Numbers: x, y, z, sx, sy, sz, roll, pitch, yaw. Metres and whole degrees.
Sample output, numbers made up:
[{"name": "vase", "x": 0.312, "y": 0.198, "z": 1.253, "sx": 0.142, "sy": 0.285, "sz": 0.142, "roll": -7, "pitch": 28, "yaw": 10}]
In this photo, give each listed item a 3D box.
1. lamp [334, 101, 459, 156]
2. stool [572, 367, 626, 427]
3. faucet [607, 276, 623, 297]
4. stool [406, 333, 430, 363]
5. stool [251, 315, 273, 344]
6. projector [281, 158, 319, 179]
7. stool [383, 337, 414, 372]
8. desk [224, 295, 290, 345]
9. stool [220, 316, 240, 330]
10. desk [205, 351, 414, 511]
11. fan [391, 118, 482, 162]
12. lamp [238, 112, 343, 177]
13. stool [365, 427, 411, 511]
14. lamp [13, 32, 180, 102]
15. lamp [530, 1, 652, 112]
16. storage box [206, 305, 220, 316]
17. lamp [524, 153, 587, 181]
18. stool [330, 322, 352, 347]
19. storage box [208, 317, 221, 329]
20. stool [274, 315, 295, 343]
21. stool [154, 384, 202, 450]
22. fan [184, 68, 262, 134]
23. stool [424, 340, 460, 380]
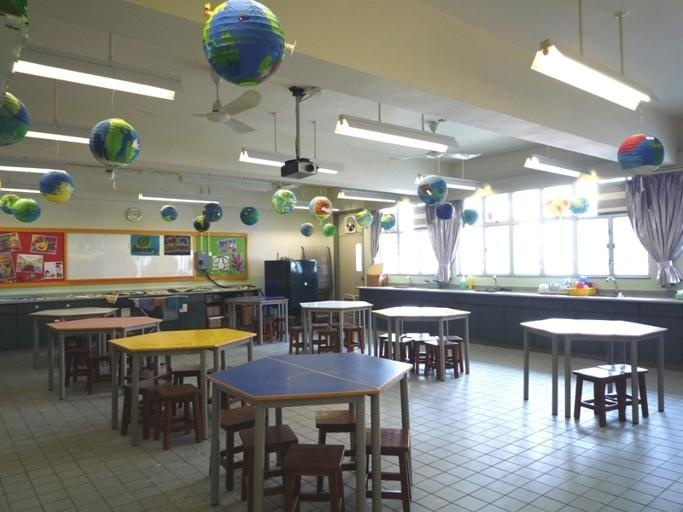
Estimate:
[{"name": "lamp", "x": 0.730, "y": -1.617, "z": 6.751, "sx": 1.769, "sy": 0.247, "sz": 0.282, "roll": 2, "pitch": -4, "yaw": -35}, {"name": "stool", "x": 3.104, "y": 1.615, "z": 6.235, "sx": 0.594, "sy": 0.720, "sz": 0.587, "roll": -1, "pitch": 0, "yaw": -25}, {"name": "faucet", "x": 4.834, "y": 0.536, "z": 9.147, "sx": 0.170, "sy": 0.335, "sz": 0.329, "roll": -1, "pitch": 2, "yaw": -16}, {"name": "stool", "x": 1.342, "y": 1.548, "z": 8.489, "sx": 0.400, "sy": 0.554, "sz": 0.420, "roll": 0, "pitch": -2, "yaw": -22}, {"name": "stool", "x": -1.598, "y": 1.598, "z": 11.423, "sx": 0.515, "sy": 0.656, "sz": 0.528, "roll": -1, "pitch": -2, "yaw": 16}, {"name": "projector", "x": -0.562, "y": -1.158, "z": 6.789, "sx": 0.247, "sy": 0.253, "sz": 0.528, "roll": 2, "pitch": -4, "yaw": -40}, {"name": "stool", "x": 0.915, "y": 1.591, "z": 8.558, "sx": 0.433, "sy": 0.572, "sz": 0.430, "roll": -1, "pitch": -3, "yaw": 16}, {"name": "desk", "x": -1.690, "y": 1.187, "z": 11.227, "sx": 1.240, "sy": 0.937, "sz": 1.100, "roll": 0, "pitch": -1, "yaw": 44}, {"name": "stool", "x": -2.523, "y": 1.527, "z": 11.812, "sx": 0.305, "sy": 0.407, "sz": 0.412, "roll": 1, "pitch": -1, "yaw": -30}, {"name": "desk", "x": -0.288, "y": 1.616, "z": 4.667, "sx": 1.808, "sy": 1.239, "sz": 1.155, "roll": -1, "pitch": -3, "yaw": 7}, {"name": "fan", "x": 1.641, "y": -1.860, "z": 8.734, "sx": 1.145, "sy": 0.471, "sz": 1.170, "roll": -3, "pitch": -3, "yaw": 27}, {"name": "lamp", "x": -0.869, "y": -1.838, "z": 8.355, "sx": 0.216, "sy": 0.604, "sz": 1.228, "roll": -17, "pitch": -15, "yaw": 39}, {"name": "stool", "x": 0.503, "y": 1.892, "z": 4.653, "sx": 0.551, "sy": 0.793, "sz": 0.575, "roll": -1, "pitch": -6, "yaw": 5}, {"name": "lamp", "x": -2.450, "y": -1.904, "z": 5.294, "sx": 1.461, "sy": 0.308, "sz": 0.236, "roll": 1, "pitch": -3, "yaw": -30}, {"name": "lamp", "x": 2.547, "y": -2.139, "z": 5.319, "sx": 1.720, "sy": 1.038, "sz": 0.666, "roll": 2, "pitch": -4, "yaw": -44}, {"name": "storage box", "x": -2.927, "y": 1.264, "z": 11.947, "sx": 0.375, "sy": 0.250, "sz": 0.202, "roll": 1, "pitch": 1, "yaw": -34}, {"name": "lamp", "x": 3.807, "y": -1.569, "z": 9.082, "sx": 0.680, "sy": 0.218, "sz": 1.880, "roll": -3, "pitch": -4, "yaw": 35}, {"name": "stool", "x": 0.023, "y": 1.426, "z": 9.293, "sx": 0.380, "sy": 0.557, "sz": 0.385, "roll": 0, "pitch": -2, "yaw": -15}, {"name": "storage box", "x": -2.880, "y": 1.518, "z": 11.895, "sx": 0.256, "sy": 0.236, "sz": 0.252, "roll": 0, "pitch": 0, "yaw": -39}, {"name": "stool", "x": -1.111, "y": 1.613, "z": 11.476, "sx": 0.550, "sy": 0.681, "sz": 0.560, "roll": 1, "pitch": -4, "yaw": -13}, {"name": "stool", "x": -1.893, "y": 1.794, "z": 5.994, "sx": 0.499, "sy": 0.651, "sz": 0.896, "roll": 1, "pitch": -3, "yaw": -24}, {"name": "fan", "x": -1.400, "y": -1.956, "z": 5.950, "sx": 0.839, "sy": 0.646, "sz": 0.832, "roll": -4, "pitch": -9, "yaw": -27}, {"name": "stool", "x": 1.579, "y": 1.602, "z": 8.156, "sx": 0.535, "sy": 0.666, "sz": 0.543, "roll": -1, "pitch": 1, "yaw": 10}]
